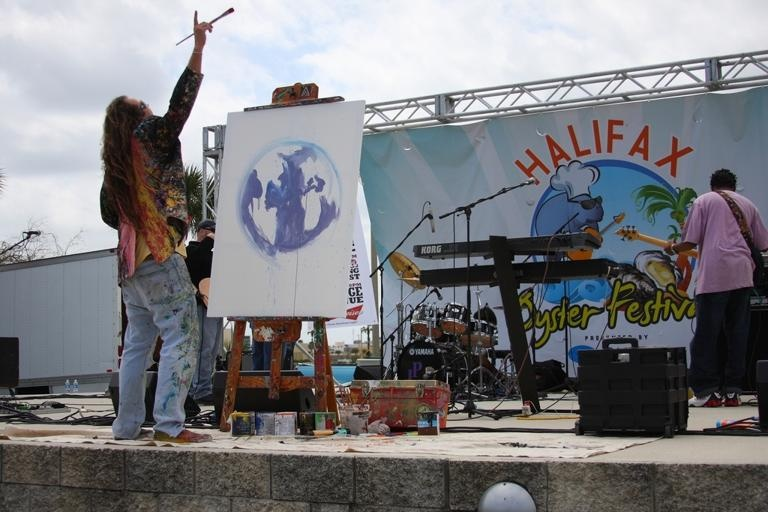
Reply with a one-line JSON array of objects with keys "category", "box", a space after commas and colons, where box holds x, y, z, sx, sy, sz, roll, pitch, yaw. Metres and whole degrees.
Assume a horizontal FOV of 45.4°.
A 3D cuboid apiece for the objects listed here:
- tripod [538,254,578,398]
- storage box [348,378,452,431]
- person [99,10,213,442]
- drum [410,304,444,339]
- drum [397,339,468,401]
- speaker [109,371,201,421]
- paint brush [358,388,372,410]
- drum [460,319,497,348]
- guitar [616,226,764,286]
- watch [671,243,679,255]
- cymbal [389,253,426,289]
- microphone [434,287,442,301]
[{"category": "tripod", "box": [2.285, 1.119, 12.658, 0.538, 2.156, 0.658, 5, 13, 20]}, {"category": "storage box", "box": [0.126, 1.383, 8.486, 0.892, 0.466, 0.426, 0, -8, -3]}, {"category": "person", "box": [-2.067, 0.193, 8.388, 1.275, 4.028, 1.088, 5, -5, -43]}, {"category": "drum", "box": [0.573, 0.897, 12.758, 0.388, 0.322, 0.437, 9, -30, -2]}, {"category": "drum", "box": [0.671, 1.461, 12.135, 0.837, 0.894, 0.676, -6, -8, 27]}, {"category": "speaker", "box": [-2.357, 1.383, 9.274, 0.659, 0.625, 0.463, -4, -6, 31]}, {"category": "paint brush", "box": [-0.181, 1.334, 8.497, 0.110, 0.158, 0.036, -4, -12, 20]}, {"category": "drum", "box": [1.231, 1.068, 12.219, 0.439, 0.184, 0.466, 8, -25, 4]}, {"category": "guitar", "box": [3.429, -0.166, 10.291, 1.097, 0.879, 1.635, -6, 1, 0]}, {"category": "watch", "box": [3.040, -0.063, 9.659, 0.071, 0.098, 0.084, -20, -28, 37]}, {"category": "cymbal", "box": [0.355, 0.145, 12.846, 0.176, 0.305, 0.849, 23, -13, -17]}, {"category": "microphone", "box": [0.737, 0.551, 12.753, 0.103, 0.191, 0.064, 2, 22, 41]}]
